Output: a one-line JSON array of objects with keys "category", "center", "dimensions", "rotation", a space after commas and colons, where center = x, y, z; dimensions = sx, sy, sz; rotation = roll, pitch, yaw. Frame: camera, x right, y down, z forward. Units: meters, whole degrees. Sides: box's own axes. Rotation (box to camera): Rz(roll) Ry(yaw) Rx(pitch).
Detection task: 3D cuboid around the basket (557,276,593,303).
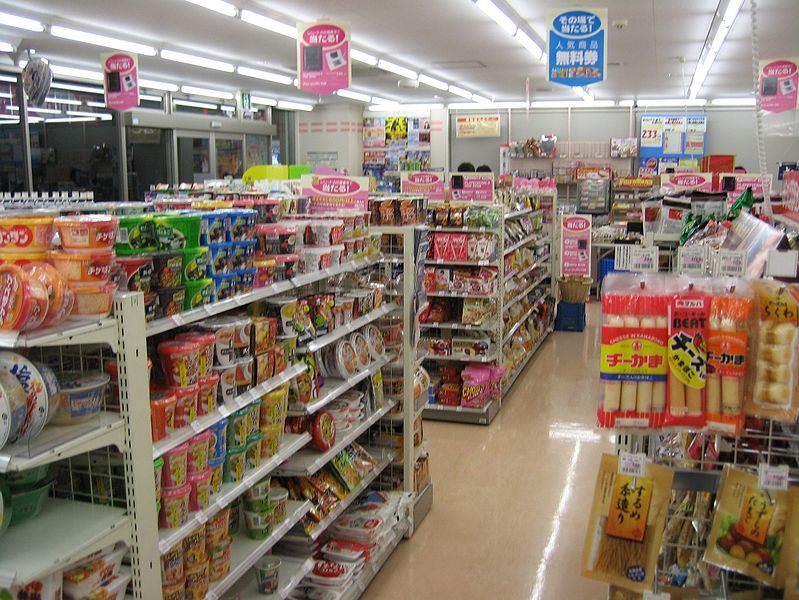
[{"category": "basket", "center": [2.843, -0.170, 9.658], "dimensions": [0.397, 0.332, 0.438], "rotation": [0, 3, 4]}]
